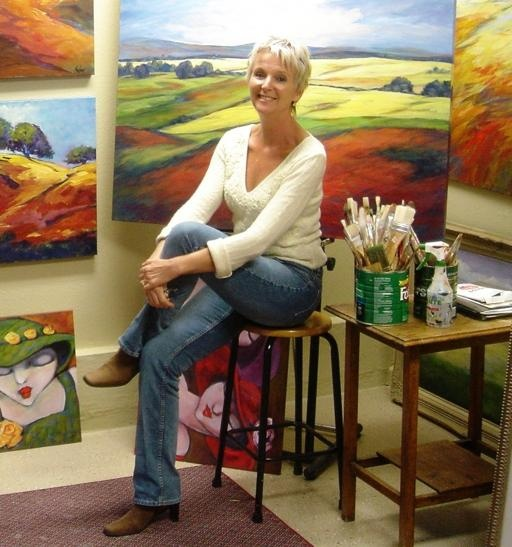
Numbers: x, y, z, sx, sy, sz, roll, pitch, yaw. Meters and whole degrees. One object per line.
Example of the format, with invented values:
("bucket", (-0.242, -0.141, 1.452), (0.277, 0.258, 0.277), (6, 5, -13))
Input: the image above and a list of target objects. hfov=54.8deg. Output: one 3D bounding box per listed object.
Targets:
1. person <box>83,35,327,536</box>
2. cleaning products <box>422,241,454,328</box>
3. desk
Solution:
("person", (-0.091, 0.030, 1.591), (0.755, 1.505, 0.466), (-2, 4, -44))
("cleaning products", (0.521, 0.029, 1.391), (0.082, 0.234, 0.104), (2, 3, 18))
("desk", (0.519, 0.466, 1.515), (0.477, 0.706, 0.430), (0, 3, -18))
